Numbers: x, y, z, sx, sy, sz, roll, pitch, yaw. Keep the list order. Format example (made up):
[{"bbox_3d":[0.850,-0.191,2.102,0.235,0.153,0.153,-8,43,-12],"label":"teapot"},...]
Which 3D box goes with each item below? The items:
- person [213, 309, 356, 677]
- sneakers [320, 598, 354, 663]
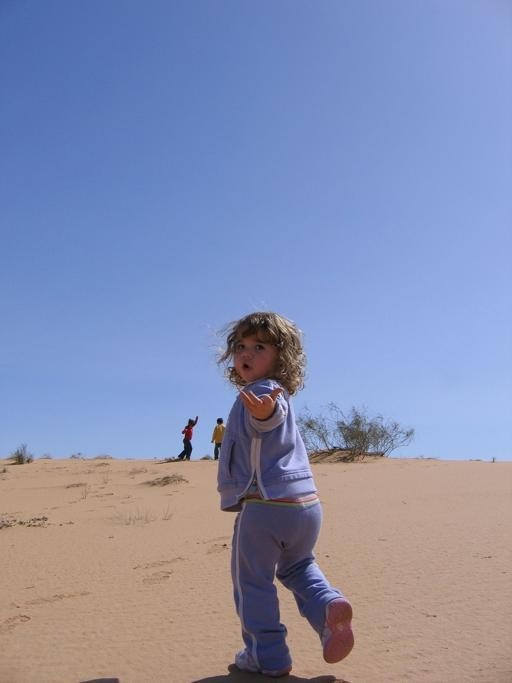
[{"bbox_3d":[0.104,0.610,2.634,0.516,1.546,0.576,-1,-11,-11],"label":"person"},{"bbox_3d":[0.322,1.132,2.451,0.127,0.243,0.104,9,-13,-15],"label":"sneakers"}]
